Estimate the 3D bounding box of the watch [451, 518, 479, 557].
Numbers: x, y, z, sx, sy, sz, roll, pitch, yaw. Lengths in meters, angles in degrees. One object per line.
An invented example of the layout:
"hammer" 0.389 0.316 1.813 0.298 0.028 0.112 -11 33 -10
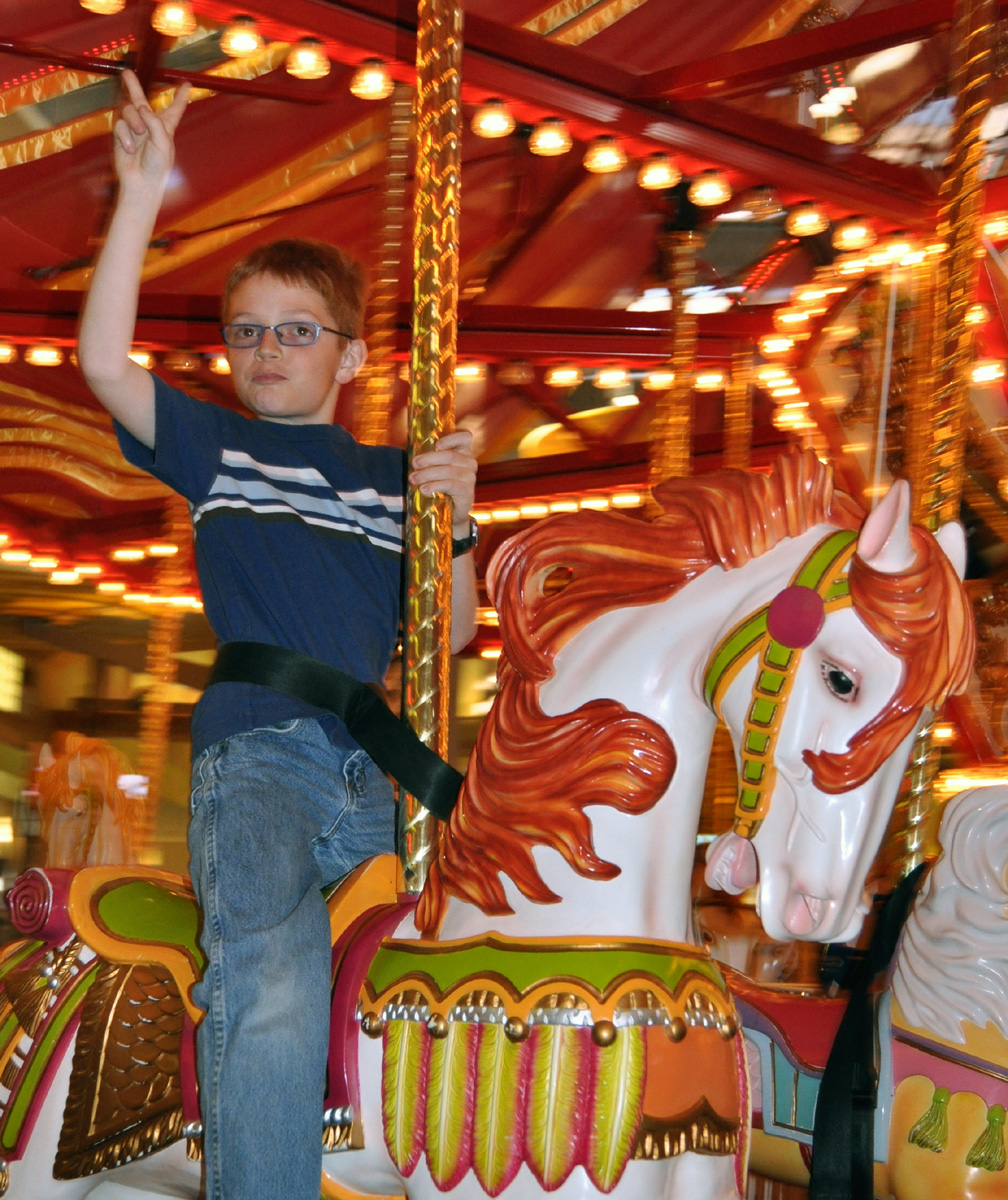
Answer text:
"watch" -0.056 -0.086 1.863 0.024 0.048 0.043 28 19 33
